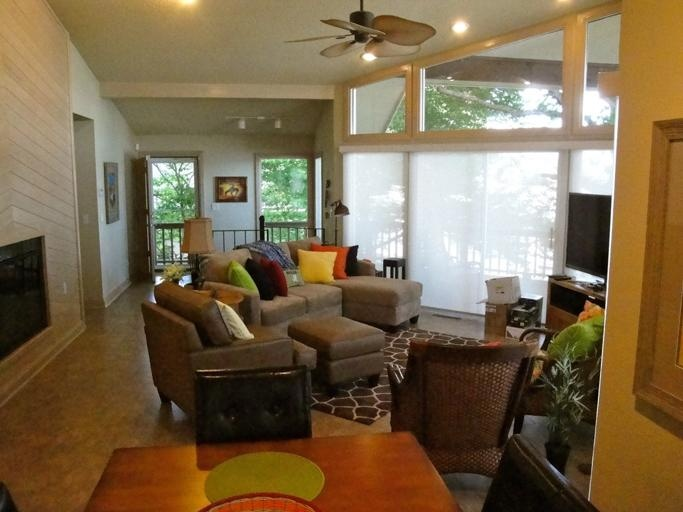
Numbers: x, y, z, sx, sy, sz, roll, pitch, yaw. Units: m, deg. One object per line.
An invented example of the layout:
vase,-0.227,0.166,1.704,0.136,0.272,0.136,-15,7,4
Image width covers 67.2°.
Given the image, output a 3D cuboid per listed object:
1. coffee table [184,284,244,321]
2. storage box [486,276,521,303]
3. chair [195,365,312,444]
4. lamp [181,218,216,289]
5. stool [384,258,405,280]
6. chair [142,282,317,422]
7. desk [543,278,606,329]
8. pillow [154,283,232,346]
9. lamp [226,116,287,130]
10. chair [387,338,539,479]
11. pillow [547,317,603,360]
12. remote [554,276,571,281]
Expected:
coffee table,-1.139,0.362,4.683,0.387,0.160,0.388,10,7,33
storage box,1.737,0.363,5.550,0.324,0.243,0.301,-2,3,-12
chair,-0.365,0.634,2.172,0.559,0.367,0.297,0,5,-4
lamp,-1.561,-0.106,5.593,0.303,0.728,1.489,-3,11,-16
stool,0.758,0.154,7.002,0.300,0.391,0.279,1,7,19
chair,-0.895,0.702,4.066,1.109,0.971,1.118,-7,14,-44
desk,2.095,0.414,4.620,0.206,0.448,0.495,-2,8,-22
pillow,-1.065,0.417,3.741,0.309,0.350,0.636,-9,14,-41
lamp,-1.518,-2.367,9.079,0.990,0.180,0.586,-1,10,-8
chair,0.662,0.820,3.020,0.771,0.884,0.842,1,8,-2
pillow,1.395,0.488,3.058,0.059,0.332,0.189,33,0,-31
remote,2.252,0.223,5.230,0.116,0.025,0.065,-3,3,-13
